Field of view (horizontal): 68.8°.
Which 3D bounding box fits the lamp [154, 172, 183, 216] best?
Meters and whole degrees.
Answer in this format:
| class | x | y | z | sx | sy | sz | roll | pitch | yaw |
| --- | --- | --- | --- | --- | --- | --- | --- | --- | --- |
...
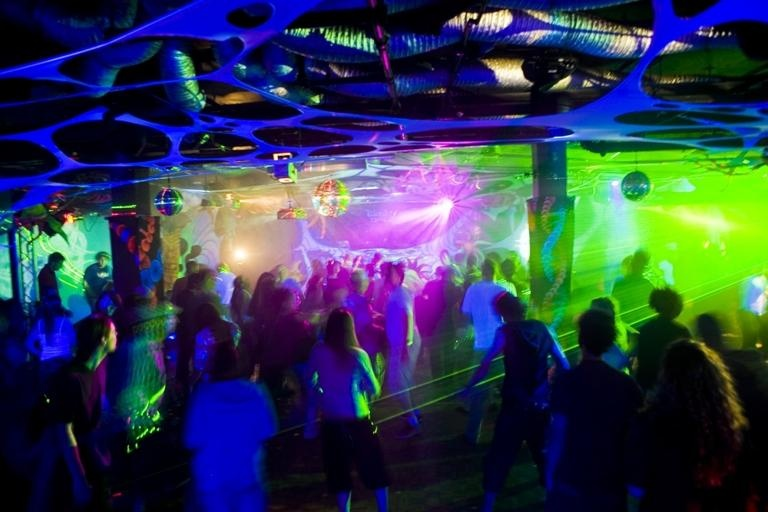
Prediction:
| class | x | y | z | sx | sy | sz | roll | pitch | yaw |
| --- | --- | --- | --- | --- | --- | --- | --- | --- | --- |
| lamp | -3.370 | -0.935 | 8.814 | 0.494 | 0.596 | 0.443 | -2 | 10 | -19 |
